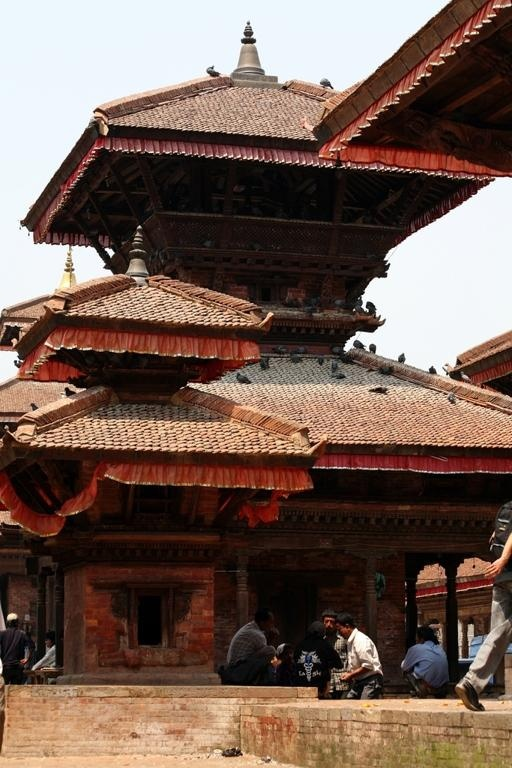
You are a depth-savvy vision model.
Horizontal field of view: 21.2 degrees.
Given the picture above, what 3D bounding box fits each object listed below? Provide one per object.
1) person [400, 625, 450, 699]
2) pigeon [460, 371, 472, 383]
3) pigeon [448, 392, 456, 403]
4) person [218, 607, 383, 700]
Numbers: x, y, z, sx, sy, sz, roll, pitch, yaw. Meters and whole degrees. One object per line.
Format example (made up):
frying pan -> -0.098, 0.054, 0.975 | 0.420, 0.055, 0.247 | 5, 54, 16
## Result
person -> 1.923, 3.038, 14.895 | 0.485, 0.828, 0.487 | -2, -5, -29
pigeon -> 3.601, -0.069, 23.756 | 0.119, 0.243, 0.194 | 15, -41, -24
pigeon -> 3.113, 0.230, 21.968 | 0.085, 0.107, 0.156 | 22, 19, -5
person -> 0.445, 2.862, 14.146 | 1.385, 1.002, 1.374 | 4, -5, -26
